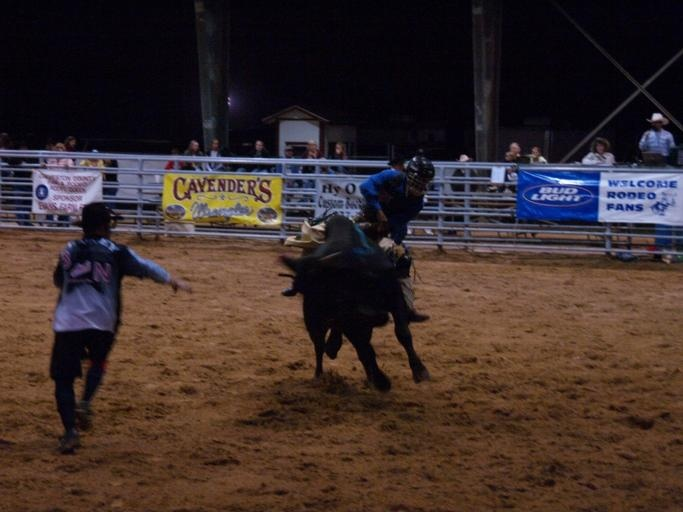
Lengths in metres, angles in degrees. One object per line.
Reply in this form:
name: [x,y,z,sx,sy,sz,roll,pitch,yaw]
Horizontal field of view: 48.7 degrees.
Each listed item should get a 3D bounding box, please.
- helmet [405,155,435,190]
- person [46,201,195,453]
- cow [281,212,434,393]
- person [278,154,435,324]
helmet: [0.826,-0.877,7.979,0.295,0.366,0.269,2,5,-2]
person: [-2.216,0.782,6.981,0.897,1.882,0.559,-1,7,-28]
cow: [0.070,0.513,7.764,1.398,1.899,1.005,2,6,-3]
person: [0.410,-0.291,8.049,0.917,1.697,0.549,23,-28,-3]
